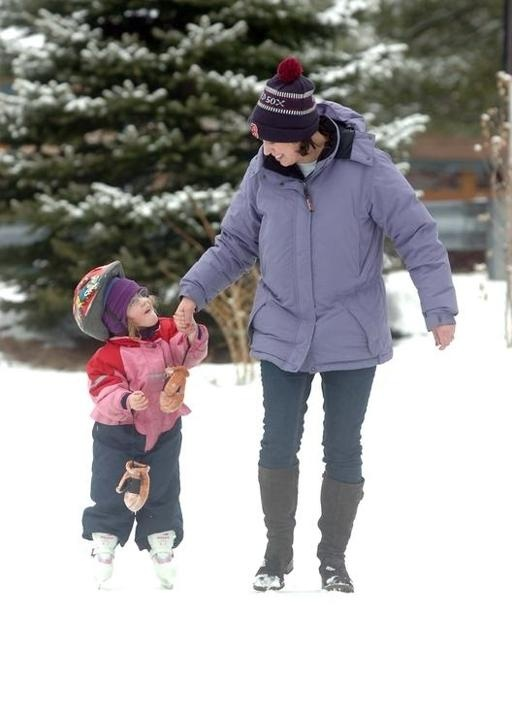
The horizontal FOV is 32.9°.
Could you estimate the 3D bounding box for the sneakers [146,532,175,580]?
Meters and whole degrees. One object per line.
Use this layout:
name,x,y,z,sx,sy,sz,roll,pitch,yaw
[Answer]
sneakers,-0.354,0.735,3.224,0.109,0.180,0.079,9,-17,-38

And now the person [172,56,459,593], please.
person,0.200,-0.069,2.983,0.944,1.819,0.419,2,8,8

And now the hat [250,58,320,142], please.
hat,0.073,-0.830,2.759,0.277,0.217,0.210,-6,39,-16

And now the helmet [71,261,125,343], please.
helmet,-0.584,-0.202,3.104,0.100,0.261,0.244,32,12,-10

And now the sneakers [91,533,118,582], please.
sneakers,-0.546,0.715,3.154,0.088,0.178,0.091,4,-14,0

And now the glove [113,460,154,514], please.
glove,-0.405,0.465,3.095,0.099,0.168,0.140,12,-15,-39
